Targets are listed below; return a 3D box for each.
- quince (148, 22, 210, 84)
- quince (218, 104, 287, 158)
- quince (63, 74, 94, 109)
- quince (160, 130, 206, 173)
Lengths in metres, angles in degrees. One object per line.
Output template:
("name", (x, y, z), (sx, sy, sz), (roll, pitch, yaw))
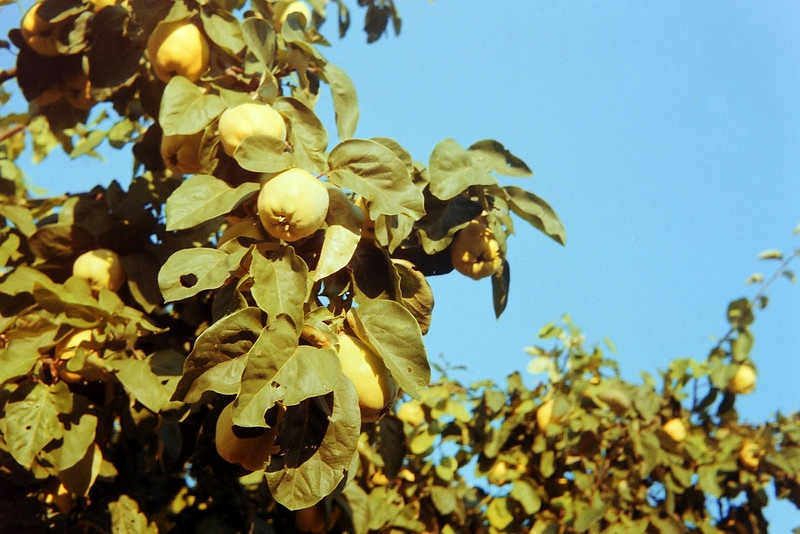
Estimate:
("quince", (-0.992, -0.933, 4.970), (0.260, 0.309, 0.247), (8, -44, -26))
("quince", (-0.619, -0.619, 4.735), (0.241, 0.235, 0.255), (-10, -74, 15))
("quince", (-1.522, -0.834, 5.263), (0.128, 0.046, 0.165), (-1, -65, 6))
("quince", (-0.944, -0.527, 5.002), (0.183, 0.191, 0.235), (-1, -71, 16))
